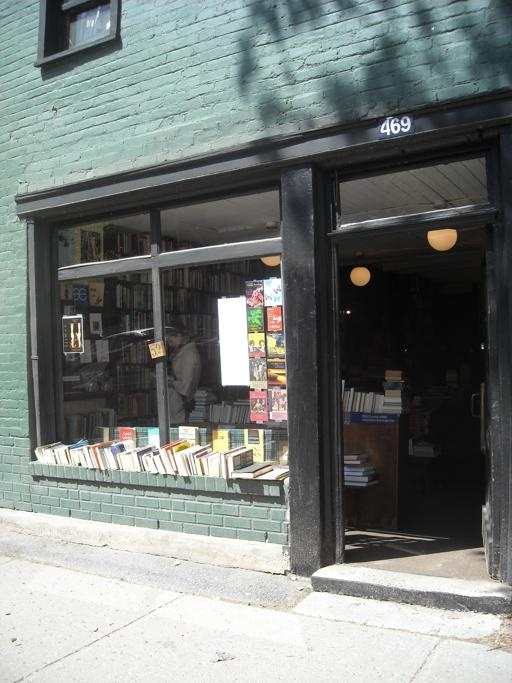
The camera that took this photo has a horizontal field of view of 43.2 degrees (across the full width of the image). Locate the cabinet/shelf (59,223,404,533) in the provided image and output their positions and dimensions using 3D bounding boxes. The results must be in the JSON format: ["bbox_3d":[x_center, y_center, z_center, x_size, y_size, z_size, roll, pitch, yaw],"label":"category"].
[{"bbox_3d":[-0.329,0.338,5.133,2.946,2.423,0.974,1,6,23],"label":"cabinet/shelf"}]
